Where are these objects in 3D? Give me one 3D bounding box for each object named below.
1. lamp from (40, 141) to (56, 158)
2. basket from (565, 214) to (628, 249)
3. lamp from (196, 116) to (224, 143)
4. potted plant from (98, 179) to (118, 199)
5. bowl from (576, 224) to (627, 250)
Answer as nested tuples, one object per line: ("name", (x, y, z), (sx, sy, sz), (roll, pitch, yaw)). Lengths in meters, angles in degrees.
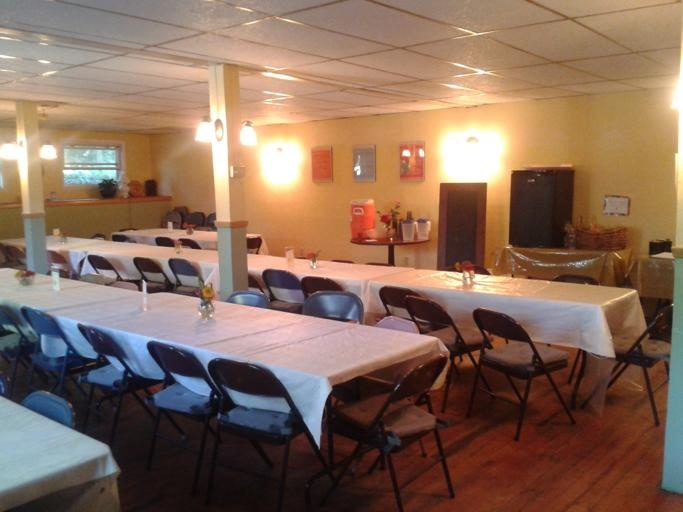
("lamp", (-4.473, -1.594, 7.749), (0.175, 0.201, 0.351), (-6, 14, -20))
("basket", (3.332, -0.309, 6.717), (0.485, 0.251, 0.577), (-2, 5, -36))
("lamp", (-1.347, -1.327, 5.366), (0.262, 0.250, 0.321), (11, 12, 31))
("potted plant", (-5.205, -1.486, 11.497), (0.485, 0.415, 0.471), (-3, 3, -44))
("bowl", (3.404, -0.250, 6.680), (0.428, 0.194, 0.498), (-2, 5, -32))
